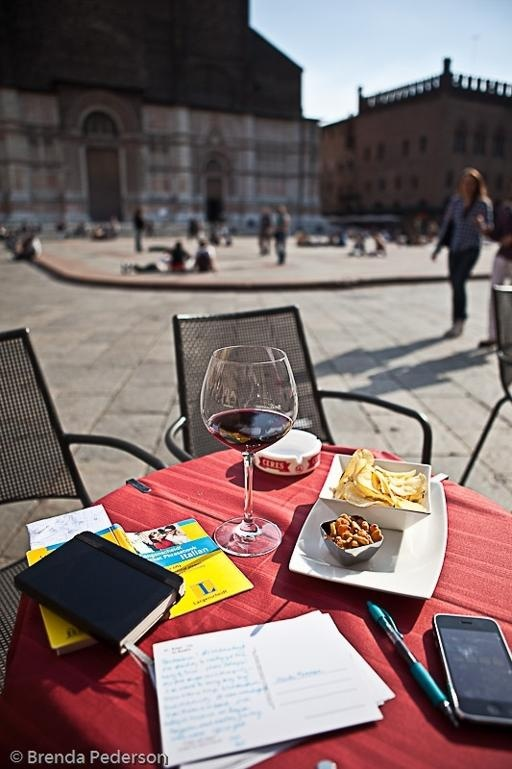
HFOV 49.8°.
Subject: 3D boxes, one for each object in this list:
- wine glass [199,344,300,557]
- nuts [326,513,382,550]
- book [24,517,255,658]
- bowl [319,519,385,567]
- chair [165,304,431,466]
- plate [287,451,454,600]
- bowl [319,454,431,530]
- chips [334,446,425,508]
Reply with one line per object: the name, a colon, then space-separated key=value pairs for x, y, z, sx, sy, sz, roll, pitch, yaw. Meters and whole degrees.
wine glass: x=0.003 y=0.115 z=0.852 sx=0.135 sy=0.318 sz=0.136 roll=-13 pitch=21 yaw=-33
nuts: x=0.127 y=0.193 z=0.744 sx=0.039 sy=0.019 sz=0.044 roll=-4 pitch=7 yaw=-33
book: x=-0.139 y=0.248 z=0.668 sx=0.193 sy=0.025 sz=0.165 roll=10 pitch=18 yaw=32
bowl: x=0.126 y=0.198 z=0.731 sx=0.085 sy=0.039 sz=0.074 roll=-10 pitch=31 yaw=-19
chair: x=0.011 y=-0.107 z=1.824 sx=0.465 sy=0.855 sz=0.501 roll=-3 pitch=17 yaw=-9
plate: x=0.140 y=0.142 z=0.782 sx=0.271 sy=0.149 sz=0.189 roll=-8 pitch=14 yaw=-39
bowl: x=0.195 y=0.129 z=0.842 sx=0.116 sy=0.044 sz=0.135 roll=12 pitch=20 yaw=21
chips: x=0.195 y=0.149 z=0.890 sx=0.115 sy=0.054 sz=0.118 roll=11 pitch=20 yaw=8
